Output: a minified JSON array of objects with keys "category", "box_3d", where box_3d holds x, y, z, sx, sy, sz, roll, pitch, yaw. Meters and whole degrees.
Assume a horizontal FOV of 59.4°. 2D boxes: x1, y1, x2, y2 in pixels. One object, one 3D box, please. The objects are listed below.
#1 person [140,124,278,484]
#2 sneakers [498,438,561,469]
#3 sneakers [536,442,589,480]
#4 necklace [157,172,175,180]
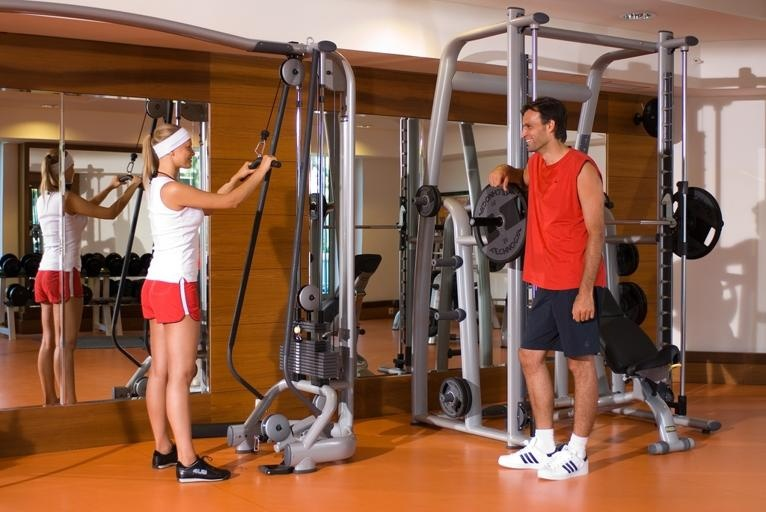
[{"category":"person","box_3d":[-1.110,0.178,4.243,0.773,2.210,0.760,1,-1,-24]},{"category":"sneakers","box_3d":[0.877,1.235,4.220,0.464,0.184,0.165,-3,-1,21]},{"category":"sneakers","box_3d":[1.097,1.239,4.050,0.322,0.193,0.087,-1,-1,-19]},{"category":"necklace","box_3d":[-1.309,-0.478,3.999,0.071,0.019,0.051,12,-5,-10]}]
